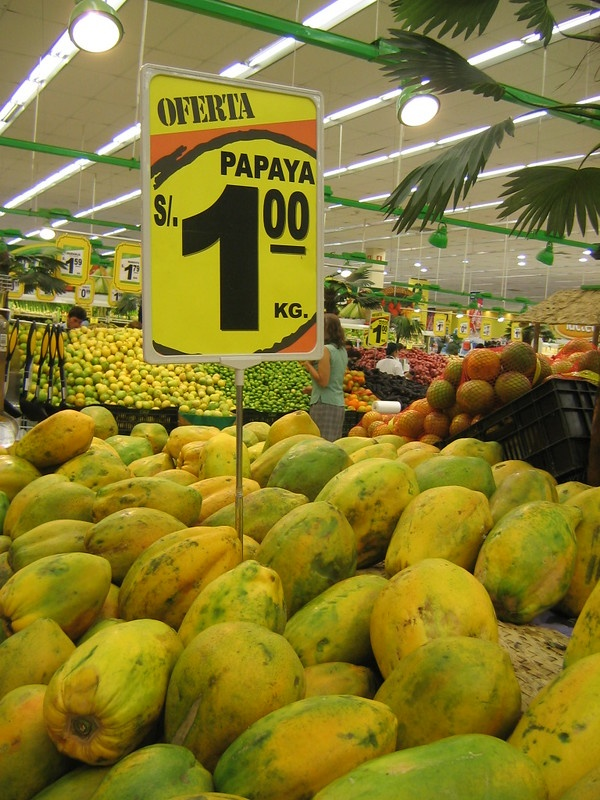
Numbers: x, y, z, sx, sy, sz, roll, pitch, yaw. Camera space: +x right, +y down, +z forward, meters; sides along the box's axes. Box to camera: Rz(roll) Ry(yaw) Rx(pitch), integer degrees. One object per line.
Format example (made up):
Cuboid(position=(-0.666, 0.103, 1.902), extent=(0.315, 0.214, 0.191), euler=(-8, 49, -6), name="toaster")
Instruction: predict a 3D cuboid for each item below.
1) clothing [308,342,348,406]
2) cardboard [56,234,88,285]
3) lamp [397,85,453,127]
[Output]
Cuboid(position=(0.240, -0.226, 4.924), extent=(0.312, 0.557, 0.468), euler=(2, 4, 8), name="clothing")
Cuboid(position=(-5.318, -3.252, 12.764), extent=(0.656, 1.193, 2.608), euler=(0, 4, -23), name="cardboard")
Cuboid(position=(1.285, -3.229, 5.961), extent=(0.429, 0.217, 0.754), euler=(2, 4, 9), name="lamp")
